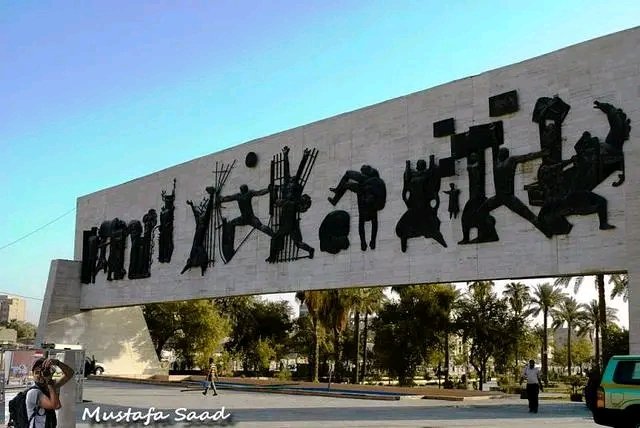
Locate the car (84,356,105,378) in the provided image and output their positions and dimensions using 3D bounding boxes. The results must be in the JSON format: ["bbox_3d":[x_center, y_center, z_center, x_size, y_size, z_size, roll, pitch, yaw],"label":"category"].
[{"bbox_3d":[-13.713,9.105,45.241,0.790,1.220,1.590,-1,-14,10],"label":"car"}]
